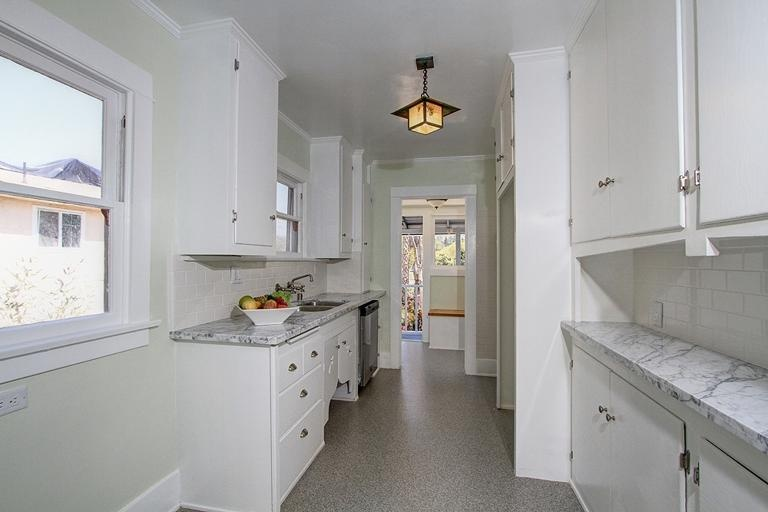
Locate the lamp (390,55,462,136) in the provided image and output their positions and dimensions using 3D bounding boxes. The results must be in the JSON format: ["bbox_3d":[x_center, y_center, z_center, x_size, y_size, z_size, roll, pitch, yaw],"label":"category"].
[{"bbox_3d":[0.320,-1.179,3.481,0.378,0.400,0.356,-15,14,-41],"label":"lamp"}]

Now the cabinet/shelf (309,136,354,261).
[{"bbox_3d":[-0.559,-0.586,4.900,0.404,1.202,0.274,1,7,-12],"label":"cabinet/shelf"}]

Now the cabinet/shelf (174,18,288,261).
[{"bbox_3d":[-1.079,-0.737,3.506,0.460,1.524,0.777,-1,-5,9],"label":"cabinet/shelf"}]
